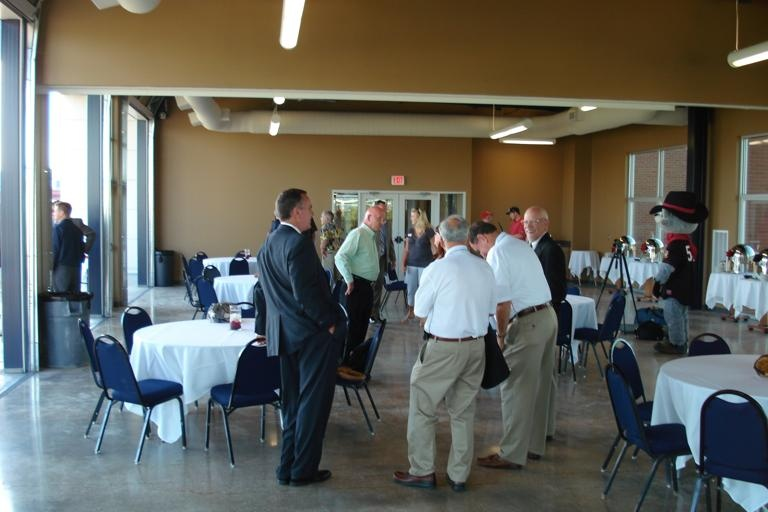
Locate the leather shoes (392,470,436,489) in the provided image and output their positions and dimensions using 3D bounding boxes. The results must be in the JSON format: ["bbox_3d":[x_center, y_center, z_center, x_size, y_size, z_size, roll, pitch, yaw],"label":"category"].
[{"bbox_3d":[0.282,2.146,6.048,0.377,0.164,0.158,5,-3,27],"label":"leather shoes"}]

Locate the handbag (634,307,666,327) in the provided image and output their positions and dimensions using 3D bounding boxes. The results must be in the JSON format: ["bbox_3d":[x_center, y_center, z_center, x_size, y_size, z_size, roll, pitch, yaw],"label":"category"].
[{"bbox_3d":[4.293,0.963,10.244,0.354,0.279,0.369,-1,18,37],"label":"handbag"}]

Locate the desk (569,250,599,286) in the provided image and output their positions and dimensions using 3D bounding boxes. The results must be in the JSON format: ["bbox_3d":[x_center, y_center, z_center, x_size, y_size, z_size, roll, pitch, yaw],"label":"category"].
[{"bbox_3d":[5.122,0.310,16.290,0.789,0.819,0.812,0,-1,-13],"label":"desk"}]

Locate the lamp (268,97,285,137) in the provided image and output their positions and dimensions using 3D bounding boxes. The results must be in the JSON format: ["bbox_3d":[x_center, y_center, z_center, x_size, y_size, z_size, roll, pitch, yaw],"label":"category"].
[{"bbox_3d":[-2.479,-3.198,14.569,0.350,0.381,1.554,-18,3,-4],"label":"lamp"}]
